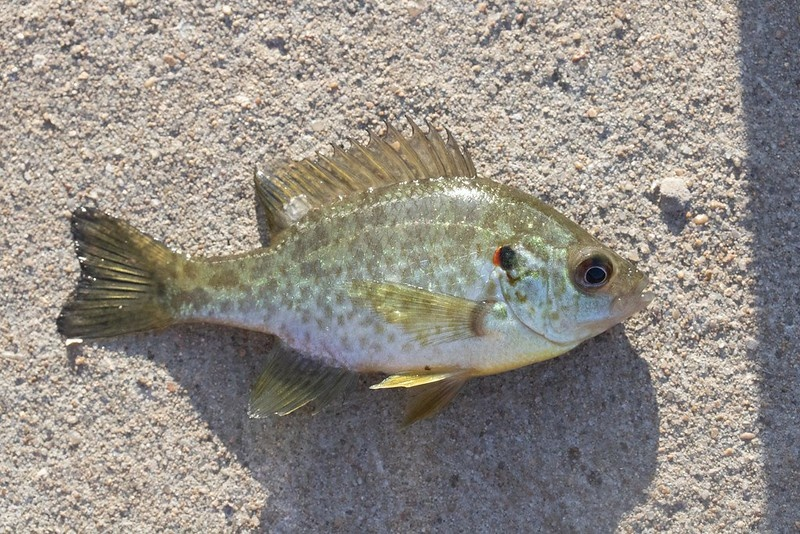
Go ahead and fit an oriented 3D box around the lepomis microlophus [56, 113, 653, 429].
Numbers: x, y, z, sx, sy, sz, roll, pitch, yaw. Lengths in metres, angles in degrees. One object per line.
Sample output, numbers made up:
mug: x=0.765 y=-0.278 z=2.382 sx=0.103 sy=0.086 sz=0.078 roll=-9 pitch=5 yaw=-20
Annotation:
lepomis microlophus: x=-0.142 y=0.019 z=4.268 sx=2.242 sy=0.838 sz=1.486 roll=-1 pitch=-57 yaw=-1
